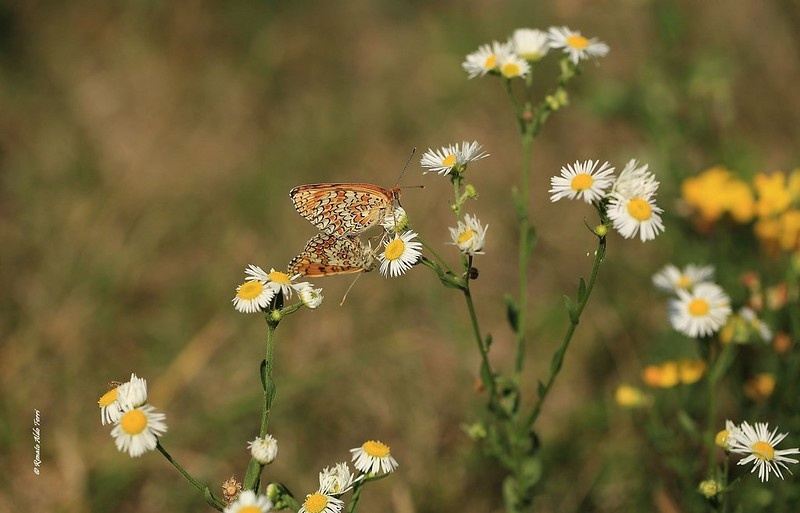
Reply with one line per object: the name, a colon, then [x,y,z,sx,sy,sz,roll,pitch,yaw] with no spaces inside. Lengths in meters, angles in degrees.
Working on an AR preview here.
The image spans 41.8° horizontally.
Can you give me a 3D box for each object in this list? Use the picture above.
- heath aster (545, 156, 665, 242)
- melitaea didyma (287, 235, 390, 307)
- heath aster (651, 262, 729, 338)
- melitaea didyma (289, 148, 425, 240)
heath aster: [1.076,-0.331,5.387,0.604,0.226,0.384,23,77,8]
melitaea didyma: [-0.340,0.028,5.930,0.527,0.541,0.387,-13,93,19]
heath aster: [1.644,0.223,5.796,0.386,0.369,0.474,-11,74,-1]
melitaea didyma: [-0.284,-0.330,5.979,0.646,0.686,0.518,-4,94,-31]
